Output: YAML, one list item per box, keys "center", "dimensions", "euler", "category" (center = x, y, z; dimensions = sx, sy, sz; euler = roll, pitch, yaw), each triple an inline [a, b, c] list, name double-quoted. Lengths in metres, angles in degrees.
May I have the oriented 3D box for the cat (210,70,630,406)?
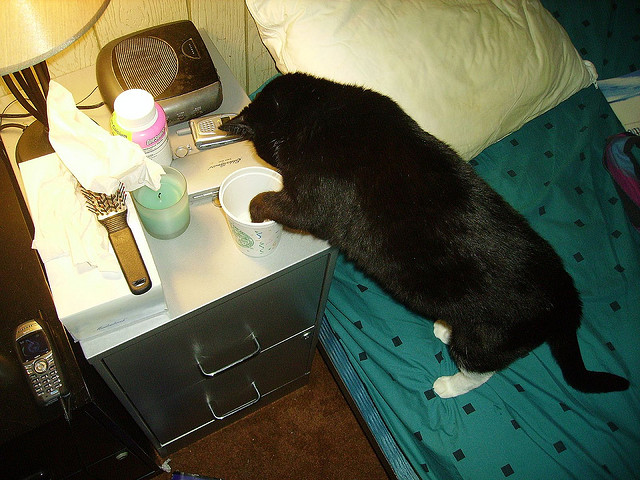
- center: [0.222, 0.006, 1.146]
  dimensions: [0.831, 0.341, 0.230]
  euler: [46, 64, -10]
  category: "cat"

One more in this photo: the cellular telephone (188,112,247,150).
- center: [-0.223, -0.232, 1.098]
  dimensions: [0.106, 0.036, 0.073]
  euler: [-9, 75, -16]
  category: "cellular telephone"

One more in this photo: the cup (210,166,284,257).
- center: [-0.135, -0.073, 1.069]
  dimensions: [0.156, 0.131, 0.178]
  euler: [-19, 74, -14]
  category: "cup"

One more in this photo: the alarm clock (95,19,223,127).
- center: [-0.377, -0.387, 1.203]
  dimensions: [0.319, 0.194, 0.250]
  euler: [-19, 53, -25]
  category: "alarm clock"

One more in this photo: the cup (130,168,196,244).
- center: [-0.292, -0.048, 0.990]
  dimensions: [0.104, 0.122, 0.118]
  euler: [-18, 43, -14]
  category: "cup"
